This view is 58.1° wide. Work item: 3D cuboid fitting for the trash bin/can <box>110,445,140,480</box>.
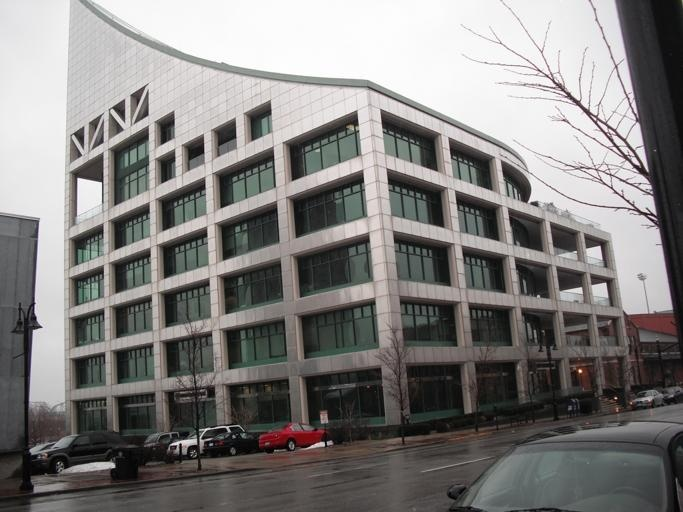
[{"bbox_3d":[-8.449,8.067,24.006,1.252,1.229,0.822,-13,-14,27],"label":"trash bin/can"}]
